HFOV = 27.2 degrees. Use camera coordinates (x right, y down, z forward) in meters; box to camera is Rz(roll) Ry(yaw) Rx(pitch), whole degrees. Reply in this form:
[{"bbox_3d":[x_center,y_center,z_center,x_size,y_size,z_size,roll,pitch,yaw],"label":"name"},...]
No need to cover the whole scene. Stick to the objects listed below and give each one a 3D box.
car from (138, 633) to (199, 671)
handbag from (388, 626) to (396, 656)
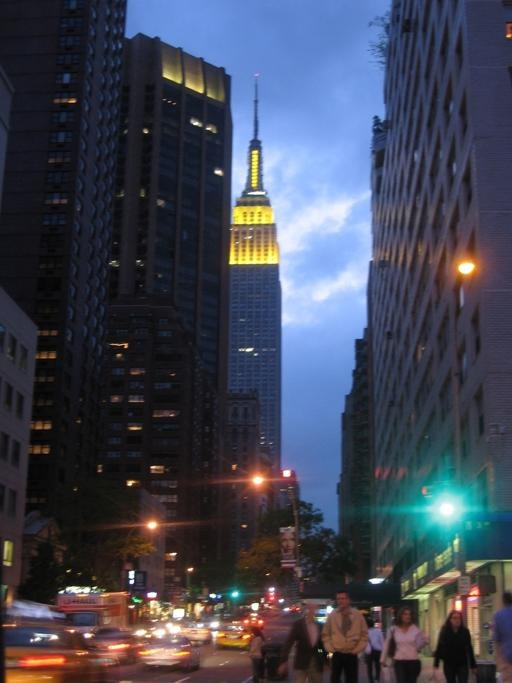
[{"bbox_3d":[-2.905,10.310,34.956,1.566,1.155,2.377,-3,-19,6],"label":"car"},{"bbox_3d":[2.158,4.888,17.113,0.100,0.398,0.208,4,-20,-13],"label":"handbag"}]
